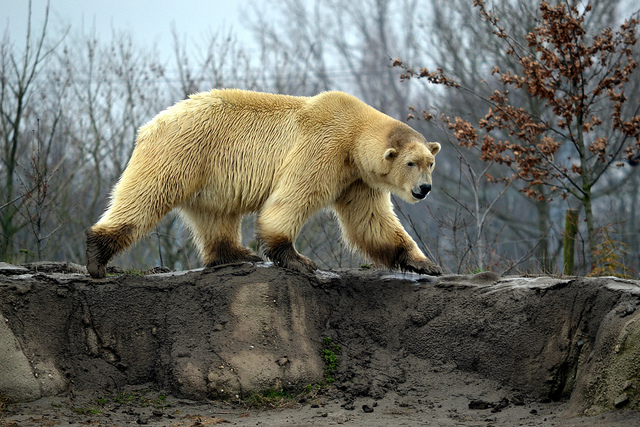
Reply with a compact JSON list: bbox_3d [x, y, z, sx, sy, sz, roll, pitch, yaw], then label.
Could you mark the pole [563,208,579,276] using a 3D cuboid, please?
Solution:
[{"bbox_3d":[4.460,0.475,20.932,0.279,1.133,0.655,-1,10,13],"label":"pole"}]
